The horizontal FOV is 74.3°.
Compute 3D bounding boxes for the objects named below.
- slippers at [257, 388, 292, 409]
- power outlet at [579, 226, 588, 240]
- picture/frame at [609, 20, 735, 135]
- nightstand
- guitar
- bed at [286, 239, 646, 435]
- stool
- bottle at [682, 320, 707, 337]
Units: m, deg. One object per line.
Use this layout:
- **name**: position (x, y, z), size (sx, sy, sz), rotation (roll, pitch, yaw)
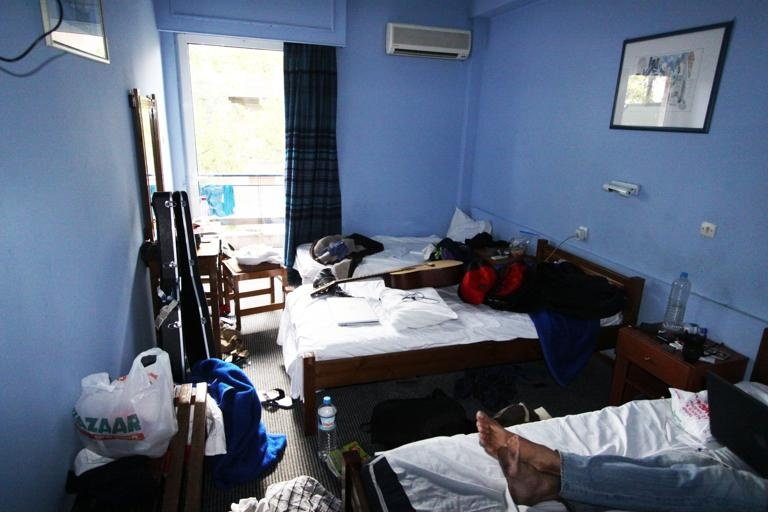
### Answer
- **slippers**: position (-0.819, 1.083, 3.837), size (0.227, 0.068, 0.135), rotation (13, 24, -18)
- **power outlet**: position (1.729, -0.198, 4.367), size (0.054, 0.099, 0.098), rotation (-5, 14, -11)
- **picture/frame**: position (2.106, -1.282, 3.638), size (0.038, 0.889, 0.900), rotation (-5, 13, -25)
- **nightstand**: position (2.015, 0.716, 3.615), size (0.586, 0.726, 0.663), rotation (-3, 12, -15)
- **guitar**: position (0.060, 0.202, 4.424), size (1.280, 0.172, 0.511), rotation (-14, 10, -28)
- **bed**: position (0.498, 0.702, 4.018), size (2.188, 0.736, 1.276), rotation (-8, 22, -11)
- **stool**: position (-1.175, 0.332, 4.742), size (0.450, 0.558, 0.604), rotation (-6, 15, -23)
- **bottle**: position (2.088, 0.492, 3.422), size (0.116, 0.049, 0.162), rotation (-8, 9, -24)
